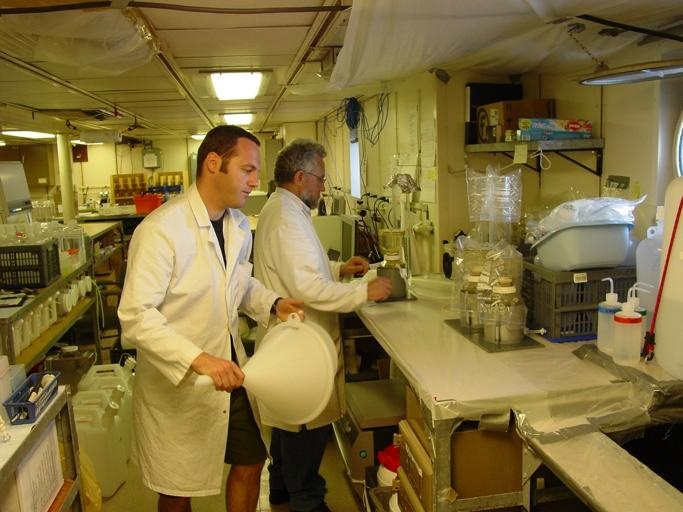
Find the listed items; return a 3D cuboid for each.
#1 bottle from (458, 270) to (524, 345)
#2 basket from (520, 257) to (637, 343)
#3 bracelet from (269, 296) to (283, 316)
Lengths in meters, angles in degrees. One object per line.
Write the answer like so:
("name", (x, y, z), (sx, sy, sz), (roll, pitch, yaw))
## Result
("bottle", (0.652, 0.238, 2.323), (0.208, 0.308, 0.317), (-3, 5, -22))
("basket", (0.985, 0.173, 2.341), (0.366, 0.213, 0.353), (-1, 2, -13))
("bracelet", (-0.312, 0.243, 2.560), (0.032, 0.078, 0.060), (23, 27, 16))
